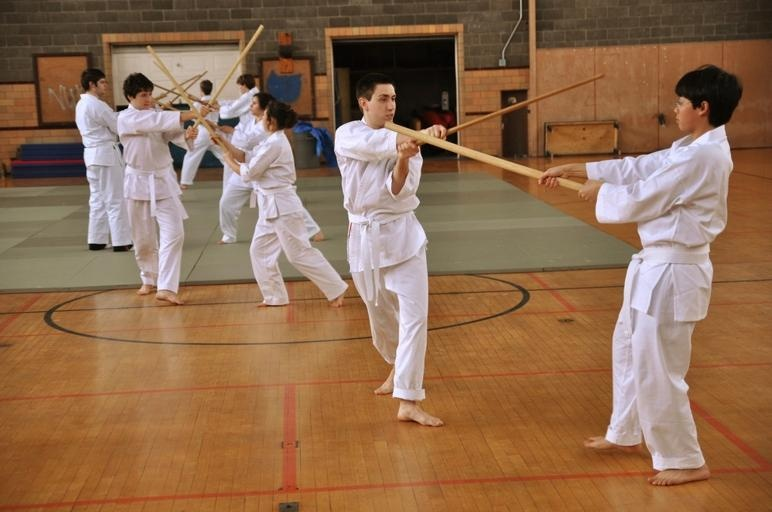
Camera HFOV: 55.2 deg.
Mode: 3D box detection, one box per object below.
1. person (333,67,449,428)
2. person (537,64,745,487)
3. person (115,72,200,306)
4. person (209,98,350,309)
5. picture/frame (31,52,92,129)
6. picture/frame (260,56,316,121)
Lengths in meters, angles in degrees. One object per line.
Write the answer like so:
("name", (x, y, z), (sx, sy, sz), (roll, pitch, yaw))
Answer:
("person", (0.066, -0.065, 4.987), (0.572, 2.230, 0.970), (-8, 19, -29))
("person", (1.577, 0.097, 4.353), (0.880, 2.378, 0.790), (6, 17, 12))
("person", (-2.240, -0.676, 7.217), (0.645, 2.134, 0.962), (-4, 17, -19))
("person", (-1.024, -0.494, 6.921), (0.614, 1.861, 1.364), (-14, 23, -43))
("picture/frame", (-7.000, -3.601, 16.109), (1.381, 1.619, 0.134), (2, 8, 14))
("picture/frame", (-2.221, -3.777, 16.443), (1.299, 1.356, 0.063), (3, 12, 14))
